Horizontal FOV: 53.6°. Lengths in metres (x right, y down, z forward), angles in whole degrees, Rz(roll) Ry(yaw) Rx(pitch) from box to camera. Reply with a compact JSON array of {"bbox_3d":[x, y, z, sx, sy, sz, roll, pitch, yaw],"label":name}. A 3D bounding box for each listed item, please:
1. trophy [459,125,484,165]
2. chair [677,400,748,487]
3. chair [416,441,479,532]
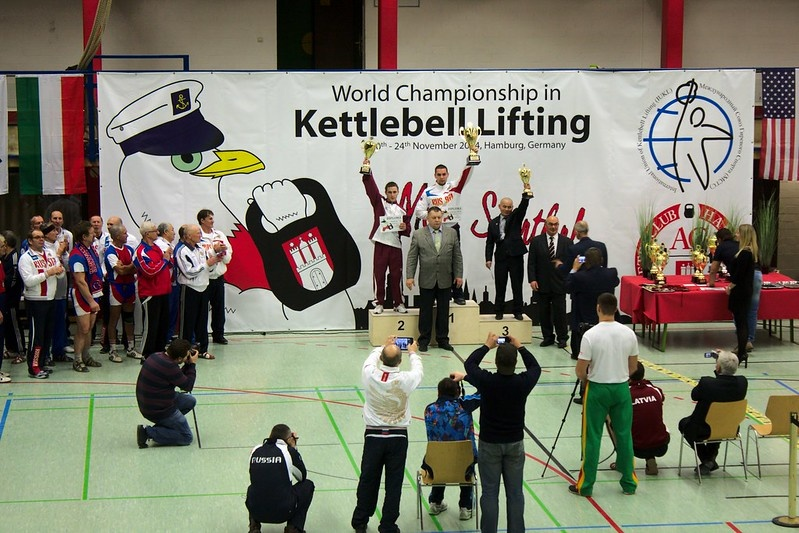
[{"bbox_3d":[1.420,-2.462,15.774,0.417,0.920,1.128,0,2,4],"label":"trophy"},{"bbox_3d":[4.300,2.310,10.646,0.626,1.064,0.682,-1,1,-12],"label":"chair"},{"bbox_3d":[0.593,2.632,9.609,0.787,1.165,0.590,0,2,2],"label":"chair"}]
